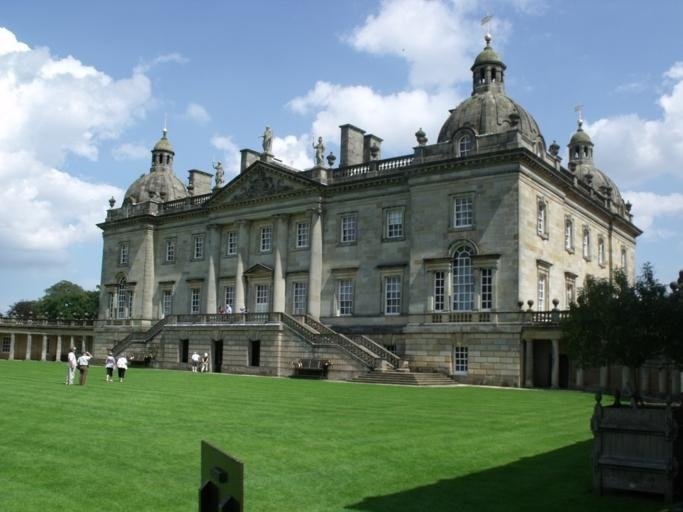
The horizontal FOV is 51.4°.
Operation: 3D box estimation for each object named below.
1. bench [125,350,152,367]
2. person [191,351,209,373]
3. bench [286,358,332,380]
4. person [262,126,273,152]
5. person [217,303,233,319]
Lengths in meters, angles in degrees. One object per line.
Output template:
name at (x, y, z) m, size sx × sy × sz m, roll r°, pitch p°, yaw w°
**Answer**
bench at (-15.371, 7.842, 53.764) m, size 2.696 × 1.236 × 0.517 m, roll -8°, pitch -15°, yaw 38°
person at (-9.743, 7.370, 48.793) m, size 1.191 × 1.181 × 0.632 m, roll -1°, pitch -10°, yaw 8°
bench at (-1.766, 6.645, 41.801) m, size 0.802 × 1.209 × 2.839 m, roll 10°, pitch -15°, yaw -38°
person at (-5.517, -8.493, 52.845) m, size 0.553 × 2.099 × 0.596 m, roll 4°, pitch -12°, yaw -12°
person at (-8.400, 4.033, 51.061) m, size 1.405 × 1.358 × 0.782 m, roll -8°, pitch -13°, yaw 37°
